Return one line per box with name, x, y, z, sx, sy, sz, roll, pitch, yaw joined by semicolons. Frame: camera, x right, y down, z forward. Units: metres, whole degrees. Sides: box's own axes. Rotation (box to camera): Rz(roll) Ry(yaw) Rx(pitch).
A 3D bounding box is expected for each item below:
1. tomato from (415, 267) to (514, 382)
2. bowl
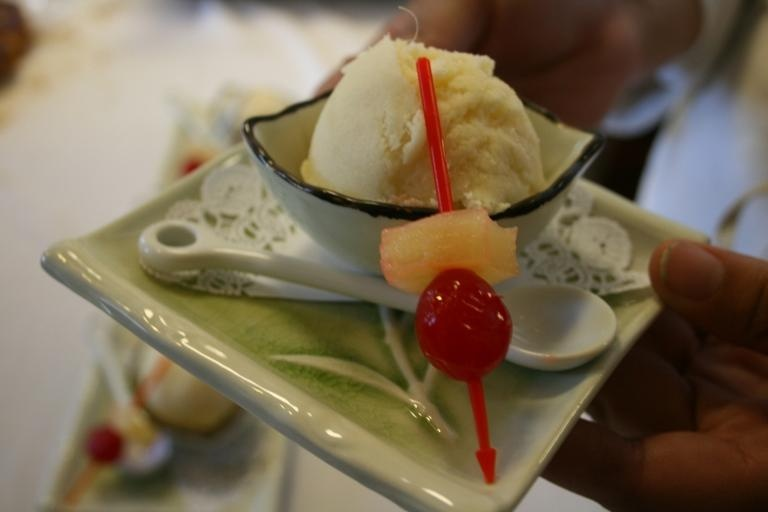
tomato;0.143;0.121;1.361;0.186;0.201;0.246;-2;9;2
bowl;0.010;-0.087;1.704;0.752;0.832;0.343;9;90;7
